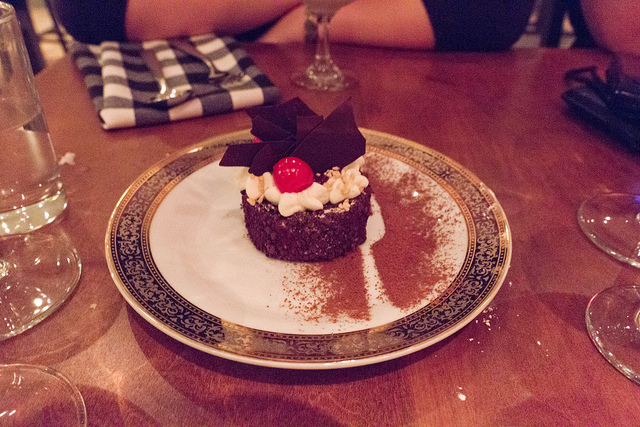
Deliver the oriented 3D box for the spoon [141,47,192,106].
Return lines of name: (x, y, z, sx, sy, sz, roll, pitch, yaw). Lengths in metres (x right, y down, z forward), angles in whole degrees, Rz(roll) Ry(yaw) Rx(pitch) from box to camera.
spoon: (-0.584, -0.495, 2.148, 0.138, 0.062, 0.386, -13, 39, -13)

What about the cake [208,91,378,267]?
cake: (-0.067, -0.138, 1.733, 0.451, 0.426, 0.442, -10, 35, -10)

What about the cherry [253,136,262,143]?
cherry: (-0.202, -0.240, 1.801, 0.021, 0.010, 0.070, 26, 6, -25)
